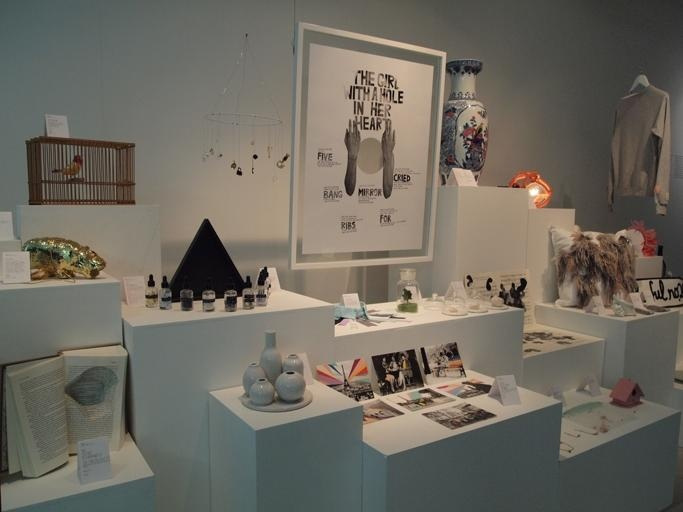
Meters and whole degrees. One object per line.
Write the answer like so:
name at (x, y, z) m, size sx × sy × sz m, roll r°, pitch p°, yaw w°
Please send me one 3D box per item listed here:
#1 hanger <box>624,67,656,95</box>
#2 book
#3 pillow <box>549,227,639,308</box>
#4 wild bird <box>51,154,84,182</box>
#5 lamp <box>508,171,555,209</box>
hanger at (2.830, -1.639, 4.737) m, size 0.172 × 0.219 × 0.317 m, roll 0°, pitch 4°, yaw 31°
book at (-1.230, 0.687, 2.187) m, size 0.186 × 0.474 × 0.445 m, roll 2°, pitch 3°, yaw 44°
pillow at (2.233, 0.098, 4.283) m, size 0.694 × 0.728 × 0.408 m, roll -2°, pitch -7°, yaw -1°
wild bird at (-1.459, -0.475, 2.680) m, size 0.170 × 0.165 × 0.113 m, roll 1°, pitch 9°, yaw -4°
lamp at (1.642, -0.586, 4.344) m, size 0.267 × 0.333 × 0.542 m, roll 0°, pitch 4°, yaw 32°
